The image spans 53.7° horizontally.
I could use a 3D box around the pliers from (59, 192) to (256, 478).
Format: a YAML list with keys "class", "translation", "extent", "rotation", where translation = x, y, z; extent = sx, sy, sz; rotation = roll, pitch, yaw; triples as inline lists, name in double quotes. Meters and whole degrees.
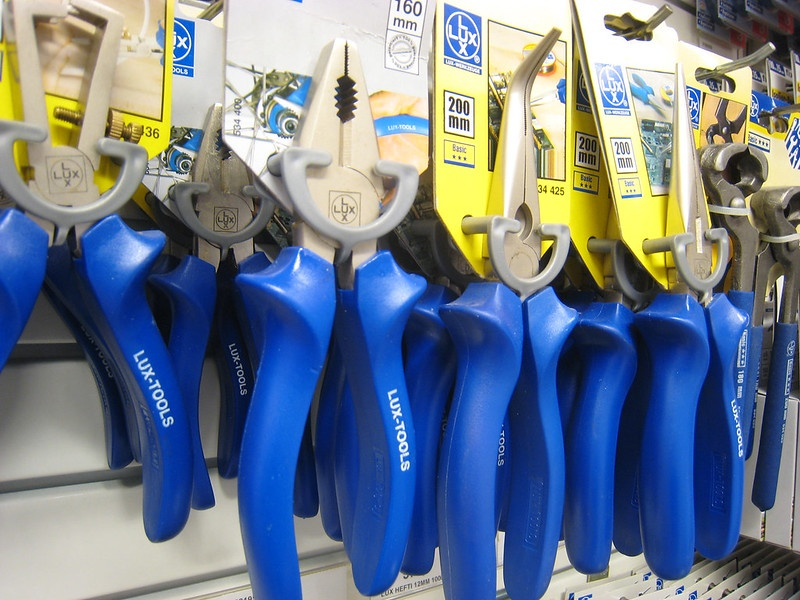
- class: "pliers"
  translation: [-0.194, 0.028, 0.828]
  extent: [0.179, 0.155, 0.488]
  rotation: [13, 10, -11]

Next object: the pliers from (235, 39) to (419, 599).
- class: "pliers"
  translation: [-0.061, 0.018, 0.732]
  extent: [0.170, 0.479, 0.111]
  rotation: [-3, -1, 2]

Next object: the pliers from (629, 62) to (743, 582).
- class: "pliers"
  translation: [0.341, 0.016, 0.909]
  extent: [0.096, 0.596, 0.206]
  rotation: [-3, -1, 42]
